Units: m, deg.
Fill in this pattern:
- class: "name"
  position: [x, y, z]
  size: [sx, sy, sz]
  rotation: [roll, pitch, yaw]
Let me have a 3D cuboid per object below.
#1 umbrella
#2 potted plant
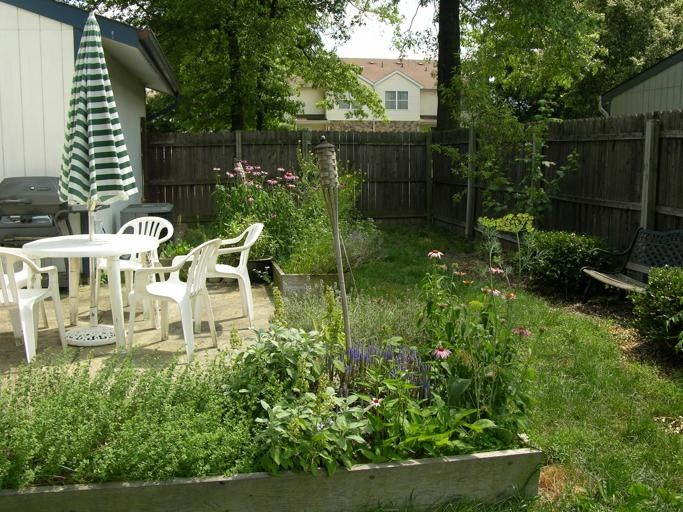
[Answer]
- class: "umbrella"
  position: [-2.164, -0.671, 5.629]
  size: [0.649, 2.904, 0.549]
  rotation: [-5, 8, -26]
- class: "potted plant"
  position: [-1.012, 0.044, 7.133]
  size: [0.671, 0.974, 0.811]
  rotation: [1, 14, -5]
